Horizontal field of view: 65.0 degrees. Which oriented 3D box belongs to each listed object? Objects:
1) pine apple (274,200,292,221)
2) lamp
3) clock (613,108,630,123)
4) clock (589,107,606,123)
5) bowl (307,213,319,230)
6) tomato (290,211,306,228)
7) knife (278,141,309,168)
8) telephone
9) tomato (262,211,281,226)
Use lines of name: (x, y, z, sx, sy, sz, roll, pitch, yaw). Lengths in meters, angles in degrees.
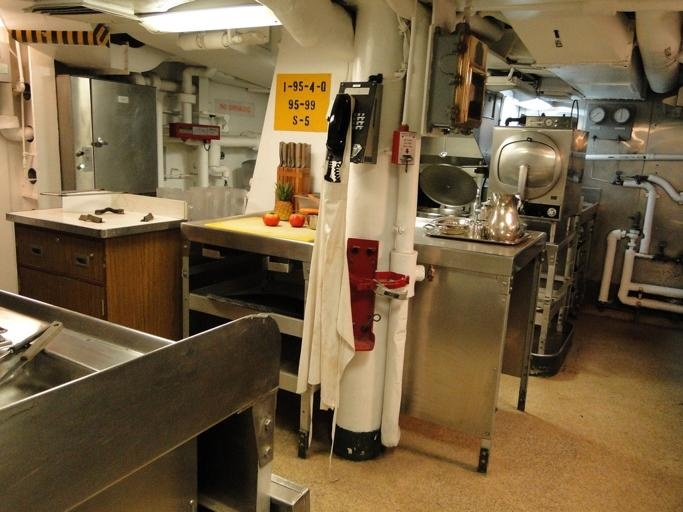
pine apple: (-0.396, -0.313, 3.683, 0.137, 0.196, 0.117, 3, 8, -4)
lamp: (-0.879, -1.582, 3.597, 1.113, 0.103, 0.313, 10, 13, 29)
clock: (3.121, -1.574, 6.019, 0.072, 0.165, 0.176, -8, 16, -43)
clock: (2.934, -1.625, 6.199, 0.072, 0.177, 0.169, -4, 14, -33)
bowl: (-0.190, -0.225, 3.503, 0.115, 0.121, 0.116, 2, 2, 0)
tomato: (-0.283, -0.239, 3.500, 0.089, 0.085, 0.087, 0, -1, 7)
knife: (-0.345, -0.719, 3.819, 0.179, 0.215, 0.220, 11, 11, 29)
telephone: (0.064, -0.679, 2.850, 0.239, 0.577, 0.272, 6, 12, 14)
tomato: (-0.460, -0.241, 3.486, 0.085, 0.082, 0.083, 1, -6, 11)
